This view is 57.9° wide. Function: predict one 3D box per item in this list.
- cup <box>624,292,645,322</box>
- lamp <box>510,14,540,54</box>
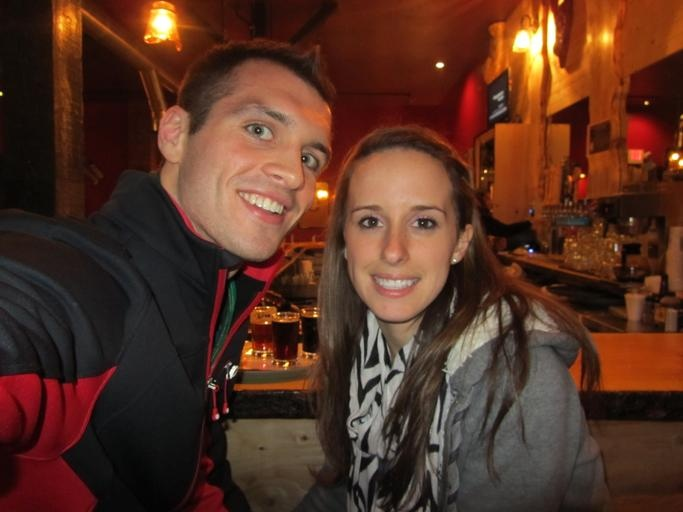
[{"bbox_3d":[1.530,0.268,3.208,0.094,0.145,0.137,0,-6,26],"label":"cup"},{"bbox_3d":[1.787,-2.096,5.876,0.106,0.357,0.332,8,10,27],"label":"lamp"}]
